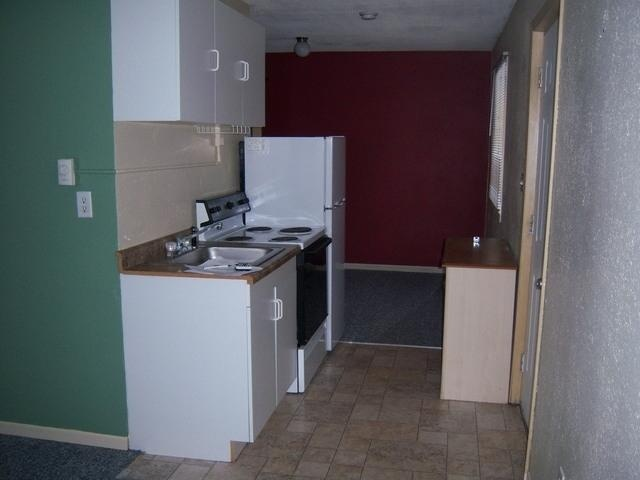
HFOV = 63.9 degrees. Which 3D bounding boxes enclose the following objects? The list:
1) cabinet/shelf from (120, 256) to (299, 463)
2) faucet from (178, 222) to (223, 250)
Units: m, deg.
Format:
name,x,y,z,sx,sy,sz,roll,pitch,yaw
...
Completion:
name,x,y,z,sx,sy,sz,roll,pitch,yaw
cabinet/shelf,-0.627,0.704,3.470,0.721,1.101,1.316,0,0,6
faucet,-0.784,-0.020,3.417,0.363,0.131,0.077,-9,9,-17
